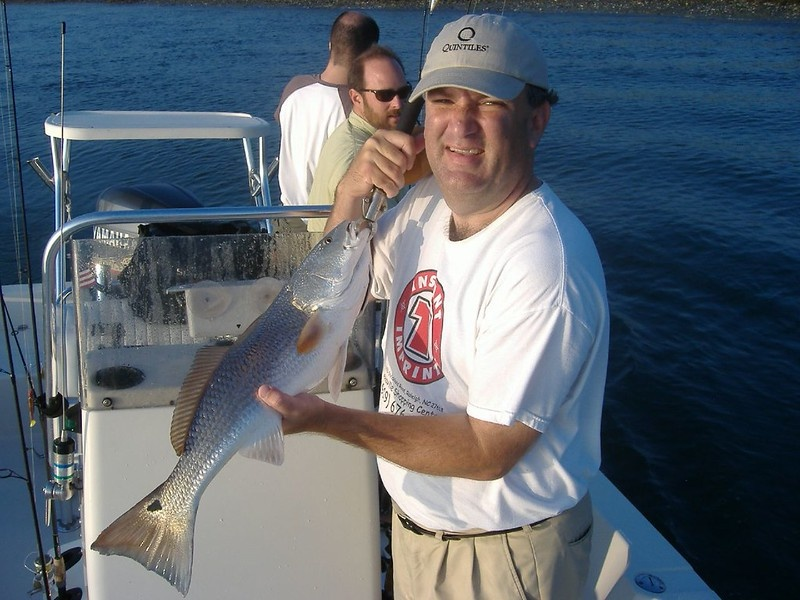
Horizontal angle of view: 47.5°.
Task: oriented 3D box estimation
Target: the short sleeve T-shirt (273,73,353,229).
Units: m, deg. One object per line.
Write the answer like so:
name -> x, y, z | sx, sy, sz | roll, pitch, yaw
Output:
short sleeve T-shirt -> -0.661, -1.508, 7.764 | 0.744, 1.085, 0.436 | -10, 53, -15

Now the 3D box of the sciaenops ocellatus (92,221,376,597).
sciaenops ocellatus -> -1.022, 0.668, 5.332 | 0.739, 2.121, 0.564 | 32, -13, 4

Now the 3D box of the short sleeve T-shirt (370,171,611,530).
short sleeve T-shirt -> 0.468, 0.292, 4.995 | 0.757, 1.351, 1.567 | -6, 27, -20

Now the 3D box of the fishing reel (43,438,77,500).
fishing reel -> -2.076, 1.042, 5.576 | 0.156, 0.382, 0.141 | 2, 9, -6

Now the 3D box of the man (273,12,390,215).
man -> -0.735, -1.500, 8.008 | 0.857, 0.722, 2.140 | 5, -33, -13
